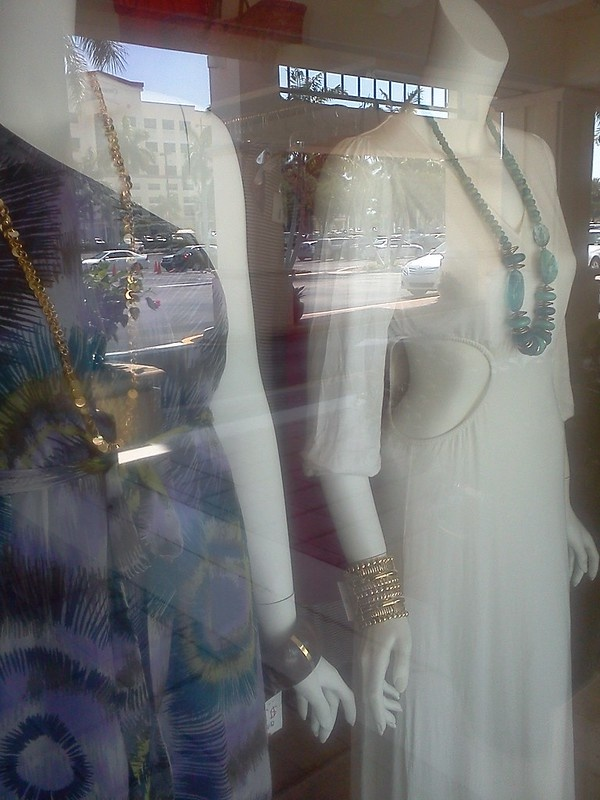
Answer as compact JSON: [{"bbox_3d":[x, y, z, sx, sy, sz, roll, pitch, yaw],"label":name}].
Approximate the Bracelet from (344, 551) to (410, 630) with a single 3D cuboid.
[{"bbox_3d":[0.101,0.251,0.757,0.067,0.074,0.066,-16,-10,24],"label":"Bracelet"}]
